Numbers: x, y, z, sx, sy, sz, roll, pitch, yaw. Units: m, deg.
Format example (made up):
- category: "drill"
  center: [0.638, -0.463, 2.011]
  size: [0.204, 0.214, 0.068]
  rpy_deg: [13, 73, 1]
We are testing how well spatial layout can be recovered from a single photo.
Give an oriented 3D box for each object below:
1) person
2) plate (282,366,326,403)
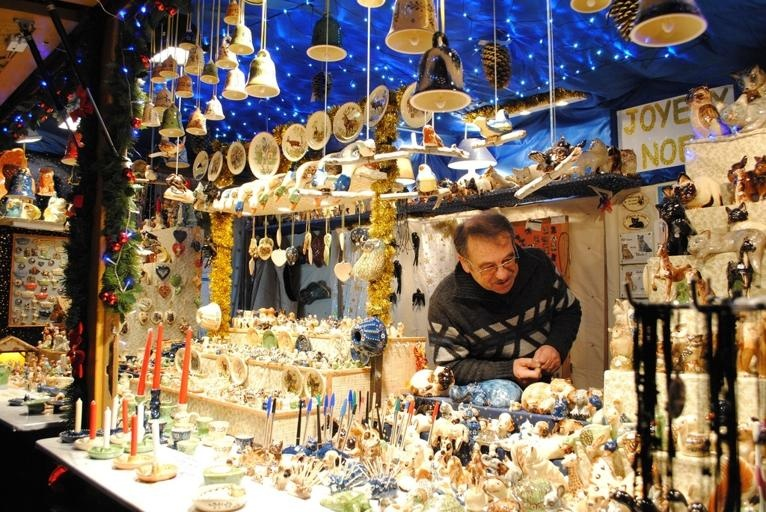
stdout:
- category: "person"
  center: [0.889, 0.269, 5.182]
  size: [1.081, 1.106, 0.556]
  rpy_deg: [3, -6, 3]
- category: "plate"
  center: [-0.627, 0.997, 5.656]
  size: [0.105, 0.235, 0.523]
  rpy_deg: [8, -8, -40]
